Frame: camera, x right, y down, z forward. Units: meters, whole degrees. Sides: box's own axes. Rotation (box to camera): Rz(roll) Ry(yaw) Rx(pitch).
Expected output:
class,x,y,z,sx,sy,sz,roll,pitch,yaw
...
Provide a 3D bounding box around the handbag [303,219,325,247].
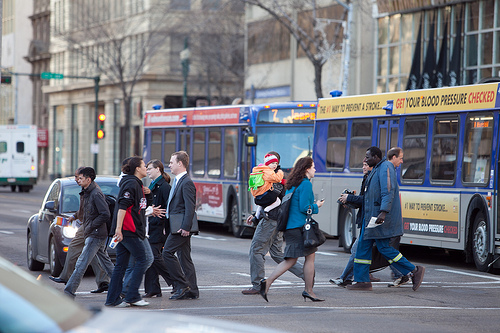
class,x,y,z,sx,sy,sz,roll,pitch,yaw
handbag,1.142,1.173,14.253,0.431,0.506,0.235,-1,3,-26

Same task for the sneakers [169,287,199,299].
class,x,y,z,sx,sy,sz,roll,pitch,yaw
sneakers,-1.140,2.270,14.544,0.545,0.263,0.199,4,-6,-19

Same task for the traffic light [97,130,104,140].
class,x,y,z,sx,sy,sz,roll,pitch,yaw
traffic light,-7.082,-1.518,38.778,0.327,0.422,1.063,0,2,-14

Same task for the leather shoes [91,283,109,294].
class,x,y,z,sx,sy,sz,roll,pitch,yaw
leather shoes,-2.796,2.265,15.086,0.479,0.254,0.168,-2,-5,35

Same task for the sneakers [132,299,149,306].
class,x,y,z,sx,sy,sz,roll,pitch,yaw
sneakers,-1.856,2.331,13.858,0.279,0.137,0.104,-2,6,-14

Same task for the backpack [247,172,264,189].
class,x,y,z,sx,sy,sz,roll,pitch,yaw
backpack,0.169,0.280,14.871,0.254,0.295,0.090,-3,-9,32

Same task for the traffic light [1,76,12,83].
class,x,y,z,sx,sy,sz,roll,pitch,yaw
traffic light,-7.077,-2.496,23.696,0.278,0.203,0.291,1,6,5

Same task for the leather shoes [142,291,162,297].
class,x,y,z,sx,sy,sz,roll,pitch,yaw
leather shoes,-1.761,2.329,14.704,0.350,0.181,0.128,6,-8,-13

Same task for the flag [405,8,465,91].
class,x,y,z,sx,sy,sz,roll,pitch,yaw
flag,7.213,-4.478,31.493,0.577,2.913,2.235,-2,3,-38

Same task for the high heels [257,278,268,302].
class,x,y,z,sx,sy,sz,roll,pitch,yaw
high heels,0.243,2.164,14.302,0.144,0.421,0.133,-10,9,9

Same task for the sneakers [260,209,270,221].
class,x,y,z,sx,sy,sz,roll,pitch,yaw
sneakers,0.274,0.906,14.788,0.148,0.160,0.112,-16,-5,27

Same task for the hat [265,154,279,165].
class,x,y,z,sx,sy,sz,roll,pitch,yaw
hat,0.398,-0.124,15.015,0.214,0.189,0.173,-8,5,0

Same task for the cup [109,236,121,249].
class,x,y,z,sx,sy,sz,roll,pitch,yaw
cup,-2.283,1.291,13.795,0.127,0.220,0.386,-1,2,-18
